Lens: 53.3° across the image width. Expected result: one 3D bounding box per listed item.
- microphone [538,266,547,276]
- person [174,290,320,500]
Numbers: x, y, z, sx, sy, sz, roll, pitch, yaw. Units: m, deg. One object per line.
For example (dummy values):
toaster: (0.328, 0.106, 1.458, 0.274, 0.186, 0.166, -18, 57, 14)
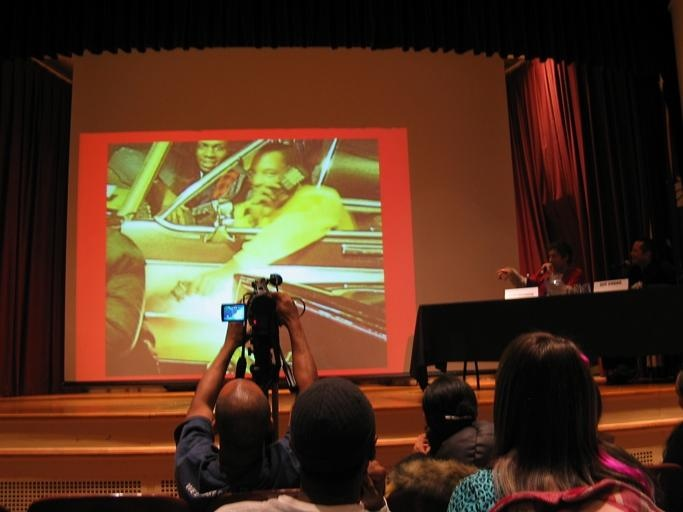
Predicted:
microphone: (1.851, 0.144, 6.252, 0.017, 0.076, 0.072, 13, -10, -16)
person: (-0.472, 0.690, 3.422, 0.706, 1.025, 0.536, 2, -4, -12)
